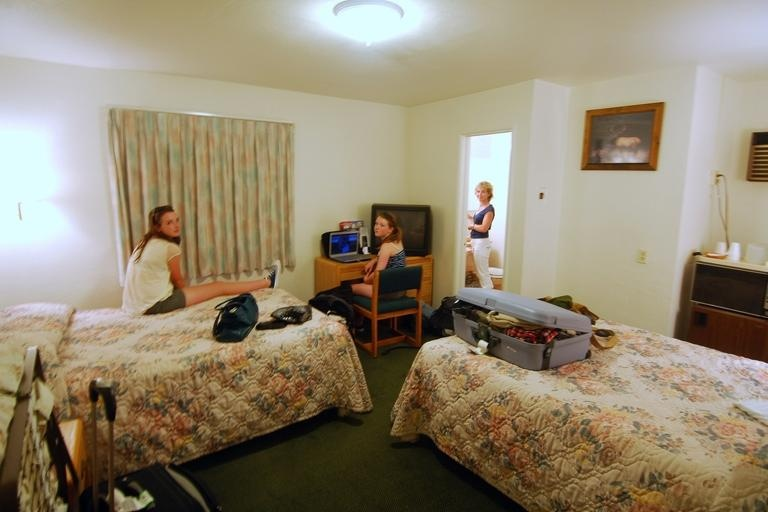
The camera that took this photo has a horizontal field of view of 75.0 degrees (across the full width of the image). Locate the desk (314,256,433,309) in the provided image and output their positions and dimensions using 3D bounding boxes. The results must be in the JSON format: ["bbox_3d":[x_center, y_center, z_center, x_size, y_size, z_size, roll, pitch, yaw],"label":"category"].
[{"bbox_3d":[-0.116,0.437,6.044,1.376,0.951,0.534,-8,17,-36],"label":"desk"}]

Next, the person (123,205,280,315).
[{"bbox_3d":[-1.711,0.056,4.747,1.396,0.961,0.489,-5,6,-37],"label":"person"}]

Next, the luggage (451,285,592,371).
[{"bbox_3d":[1.028,0.358,3.460,0.596,0.350,0.697,-5,9,-32],"label":"luggage"}]

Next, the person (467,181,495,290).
[{"bbox_3d":[1.238,-0.244,6.369,0.305,1.403,0.820,1,12,9],"label":"person"}]

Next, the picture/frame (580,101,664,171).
[{"bbox_3d":[2.309,-1.157,4.793,0.054,0.615,0.692,-13,17,-43],"label":"picture/frame"}]

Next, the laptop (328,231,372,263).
[{"bbox_3d":[-0.368,-0.110,5.644,0.426,0.292,0.315,-8,15,-36],"label":"laptop"}]
